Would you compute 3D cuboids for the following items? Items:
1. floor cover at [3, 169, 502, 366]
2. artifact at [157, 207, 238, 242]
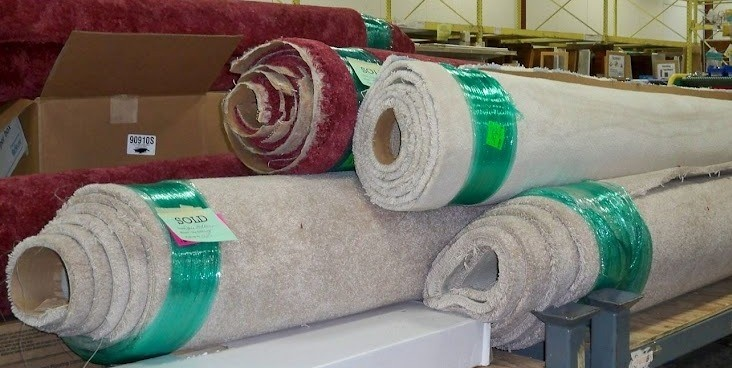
[{"bbox_3d":[-0.181,0.145,1.602,1.428,0.417,0.394,-7,10,-31],"label":"floor cover"},{"bbox_3d":[-0.410,0.100,1.319,0.169,0.094,0.079,-7,16,-22],"label":"artifact"}]
